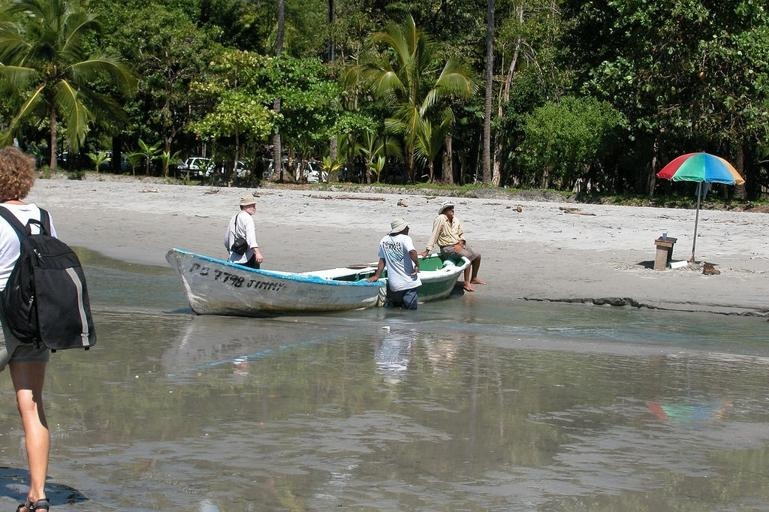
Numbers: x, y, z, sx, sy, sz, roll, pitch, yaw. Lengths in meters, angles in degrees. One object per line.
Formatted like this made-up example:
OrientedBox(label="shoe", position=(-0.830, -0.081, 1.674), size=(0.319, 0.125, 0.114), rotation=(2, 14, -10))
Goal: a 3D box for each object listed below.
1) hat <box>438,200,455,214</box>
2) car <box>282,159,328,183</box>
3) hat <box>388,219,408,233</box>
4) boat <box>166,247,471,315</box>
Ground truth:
OrientedBox(label="hat", position=(1.254, -1.023, 20.078), size=(0.274, 0.259, 0.643), rotation=(2, 12, 1))
OrientedBox(label="car", position=(-4.022, -4.394, 50.314), size=(2.082, 0.957, 2.717), rotation=(2, -4, -8))
OrientedBox(label="hat", position=(0.269, -0.618, 17.707), size=(0.316, 0.146, 0.268), rotation=(-20, 4, -28))
OrientedBox(label="boat", position=(-1.226, 0.316, 17.396), size=(5.238, 1.408, 1.348), rotation=(-8, 15, -37))
